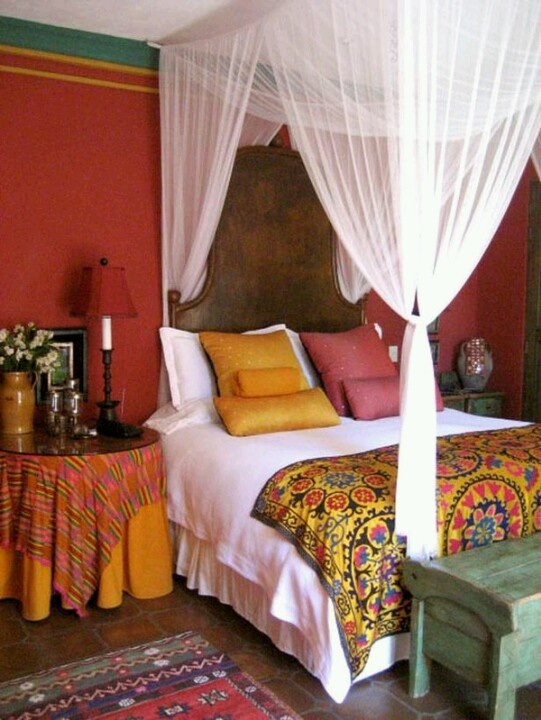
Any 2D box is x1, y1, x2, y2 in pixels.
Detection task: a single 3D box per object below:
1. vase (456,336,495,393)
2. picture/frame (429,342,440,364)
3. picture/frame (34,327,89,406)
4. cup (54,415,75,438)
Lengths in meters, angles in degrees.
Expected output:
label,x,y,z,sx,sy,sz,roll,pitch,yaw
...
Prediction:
label,x,y,z,sx,sy,sz,roll,pitch,yaw
vase,1.604,0.024,4.706,0.272,0.421,0.293,0,12,13
picture/frame,1.090,-0.050,3.975,0.024,0.217,0.161,0,3,37
picture/frame,-1.044,0.026,2.942,0.051,0.512,0.373,8,10,42
cup,-0.930,0.298,2.704,0.099,0.113,0.100,1,-3,0
